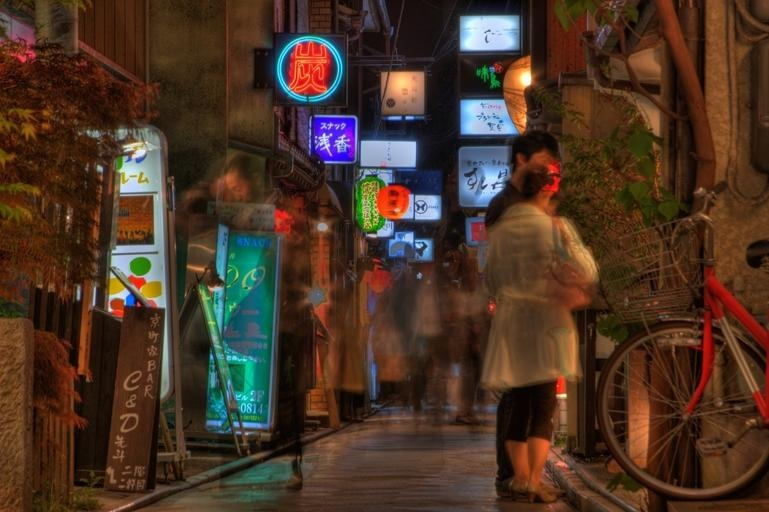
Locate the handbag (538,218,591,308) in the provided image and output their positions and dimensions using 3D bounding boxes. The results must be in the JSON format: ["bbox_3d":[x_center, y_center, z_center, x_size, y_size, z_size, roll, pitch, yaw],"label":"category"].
[{"bbox_3d":[1.759,0.095,8.919,0.267,0.754,0.532,-18,-2,34],"label":"handbag"}]
